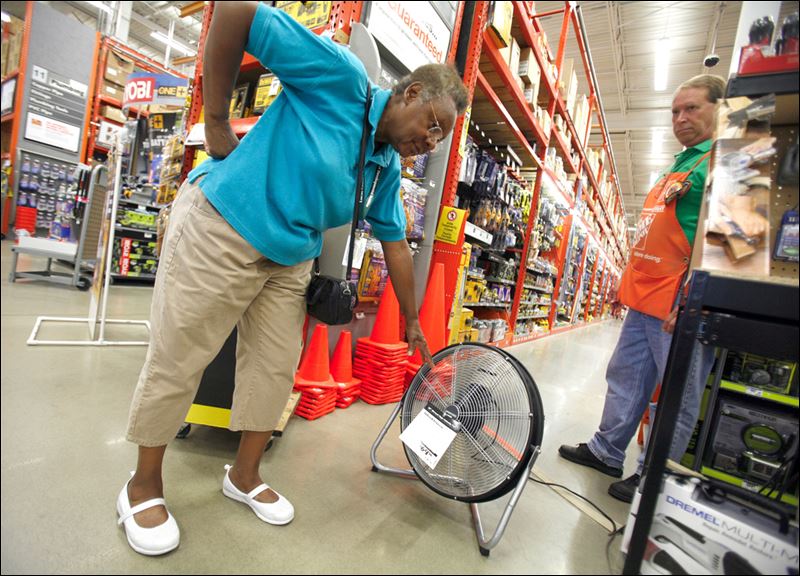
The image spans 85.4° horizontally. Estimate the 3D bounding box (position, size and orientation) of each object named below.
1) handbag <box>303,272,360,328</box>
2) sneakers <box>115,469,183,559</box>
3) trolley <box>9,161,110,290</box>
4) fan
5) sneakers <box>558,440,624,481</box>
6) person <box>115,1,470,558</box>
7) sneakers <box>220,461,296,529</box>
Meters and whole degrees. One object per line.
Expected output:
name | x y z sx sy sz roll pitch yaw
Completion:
handbag | -0.298 0.055 1.936 0.189 0.222 0.270 0 15 -41
sneakers | -0.946 0.843 1.640 0.269 0.111 0.136 24 17 40
trolley | -3.463 -0.621 4.366 0.701 1.209 0.628 1 5 -25
fan | 0.236 0.757 2.021 0.739 0.770 0.326 18 11 36
sneakers | 1.145 1.042 2.690 0.403 0.167 0.136 22 3 26
person | -0.477 -0.024 1.804 1.091 1.991 0.528 3 11 -32
sneakers | -0.594 0.892 1.856 0.315 0.126 0.151 16 12 21
